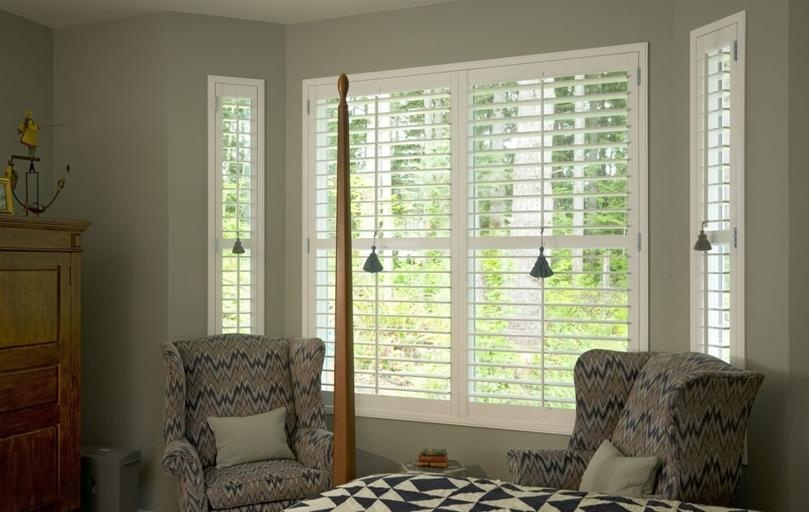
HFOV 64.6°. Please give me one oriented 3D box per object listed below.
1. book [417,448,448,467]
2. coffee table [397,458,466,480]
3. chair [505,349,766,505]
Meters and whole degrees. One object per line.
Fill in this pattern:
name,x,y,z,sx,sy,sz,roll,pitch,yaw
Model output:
book,0.199,1.398,4.446,0.163,0.082,0.162,1,-2,9
coffee table,0.194,1.475,4.408,0.410,0.094,0.297,-1,0,-5
chair,1.454,1.011,4.111,1.101,1.197,1.028,8,-12,-25
